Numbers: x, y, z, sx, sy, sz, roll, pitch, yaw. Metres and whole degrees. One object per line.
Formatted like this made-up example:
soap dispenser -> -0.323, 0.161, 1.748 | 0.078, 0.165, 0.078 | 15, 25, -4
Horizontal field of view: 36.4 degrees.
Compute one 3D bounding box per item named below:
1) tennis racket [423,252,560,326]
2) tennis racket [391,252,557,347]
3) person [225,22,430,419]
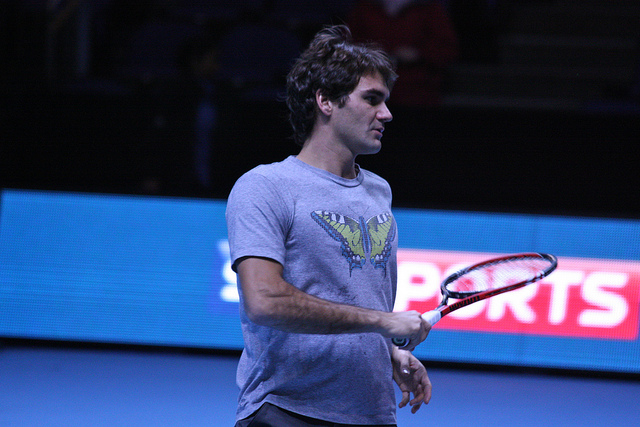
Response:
tennis racket -> 1.216, 0.537, 7.298 | 1.039, 0.456, 0.460 | 0, 7, -17
tennis racket -> 1.220, 0.543, 7.285 | 1.030, 0.464, 0.438 | 0, 7, -15
person -> 0.029, 0.095, 7.007 | 1.409, 2.698, 0.719 | 1, 8, -7
